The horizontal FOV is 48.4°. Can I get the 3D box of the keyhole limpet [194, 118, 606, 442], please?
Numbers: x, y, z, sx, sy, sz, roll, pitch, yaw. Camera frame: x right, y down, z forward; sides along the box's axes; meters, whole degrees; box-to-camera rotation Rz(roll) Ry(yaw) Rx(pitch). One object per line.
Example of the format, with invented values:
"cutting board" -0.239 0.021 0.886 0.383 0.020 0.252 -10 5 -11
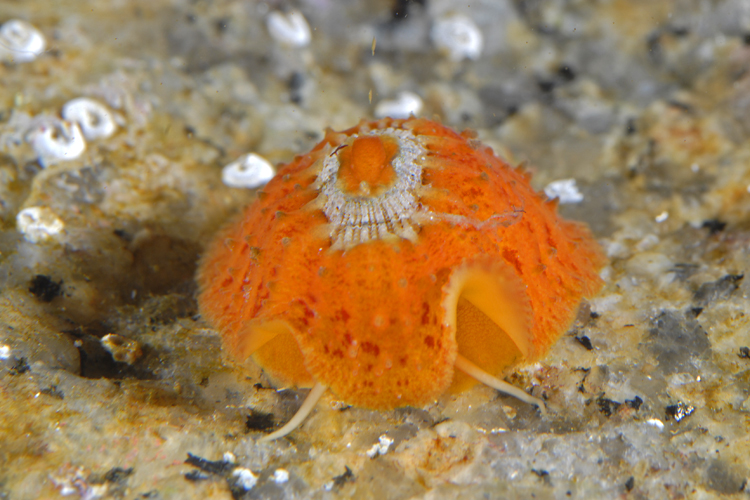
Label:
"keyhole limpet" 0.002 0.024 6.049 2.756 3.174 1.165 6 -56 32
